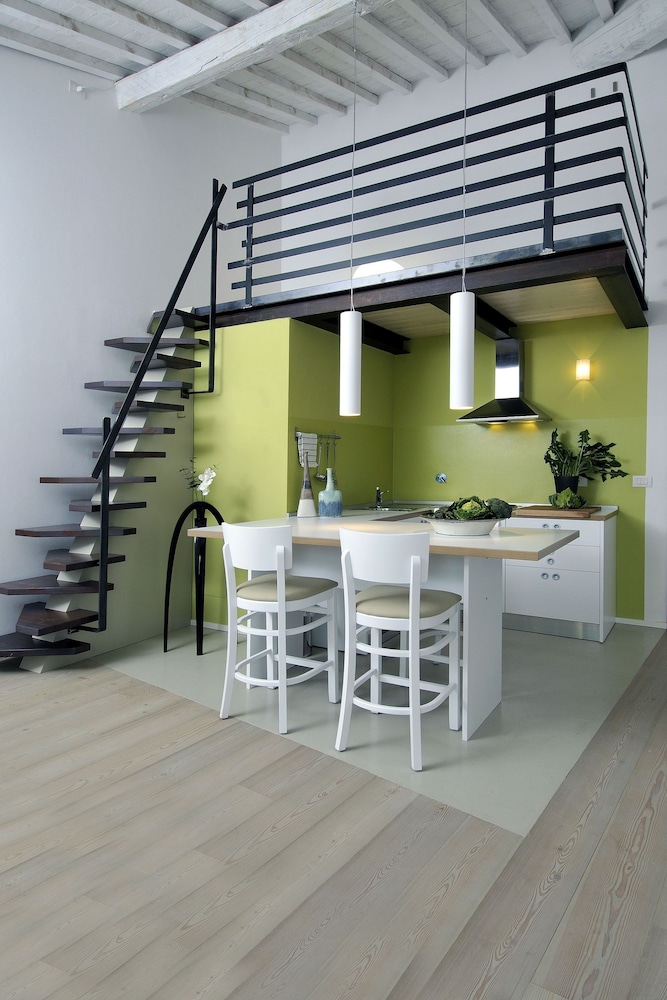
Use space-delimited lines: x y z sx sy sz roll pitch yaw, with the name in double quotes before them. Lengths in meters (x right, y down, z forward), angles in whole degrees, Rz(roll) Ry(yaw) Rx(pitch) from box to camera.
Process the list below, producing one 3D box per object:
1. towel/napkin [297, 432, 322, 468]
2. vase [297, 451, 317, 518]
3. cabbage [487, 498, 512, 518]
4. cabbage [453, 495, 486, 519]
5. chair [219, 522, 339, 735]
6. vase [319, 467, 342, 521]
"towel/napkin" -0.170 -0.329 4.821 0.031 0.247 0.241 -3 1 25
"vase" -0.158 -0.006 4.370 0.126 0.255 0.131 -1 7 -14
"cabbage" 0.750 0.036 3.313 0.101 0.040 0.081 6 7 44
"cabbage" 0.600 0.026 3.274 0.103 0.040 0.103 -11 13 -39
"chair" -0.246 0.543 3.399 0.409 0.908 0.486 0 5 22
"vase" -0.030 -0.039 4.452 0.127 0.289 0.317 -1 4 -1
